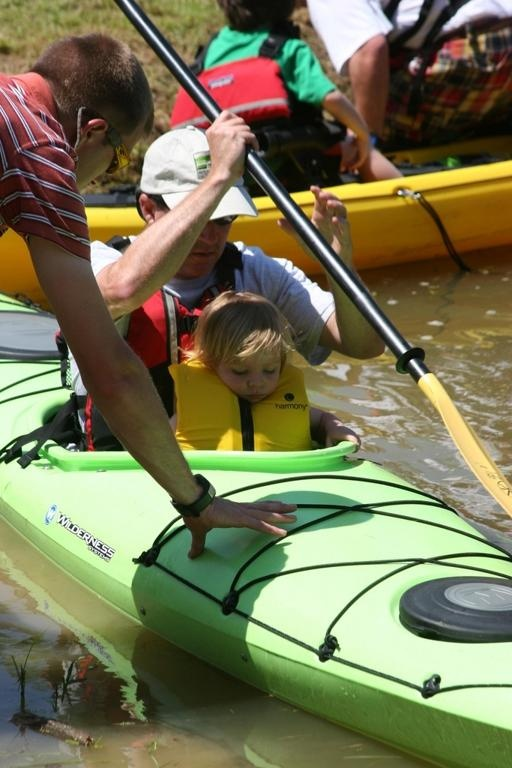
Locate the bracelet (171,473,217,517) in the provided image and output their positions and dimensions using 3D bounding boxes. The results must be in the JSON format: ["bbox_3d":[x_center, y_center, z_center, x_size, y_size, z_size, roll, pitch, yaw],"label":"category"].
[{"bbox_3d":[-0.088,0.183,1.197,0.067,0.043,0.073,-31,19,10],"label":"bracelet"}]

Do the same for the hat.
[{"bbox_3d":[-0.138,-0.498,1.827,0.246,0.174,0.359,-7,20,-38],"label":"hat"}]

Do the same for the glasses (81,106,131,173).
[{"bbox_3d":[-0.226,-0.379,1.196,0.065,0.062,0.017,40,88,20],"label":"glasses"}]
